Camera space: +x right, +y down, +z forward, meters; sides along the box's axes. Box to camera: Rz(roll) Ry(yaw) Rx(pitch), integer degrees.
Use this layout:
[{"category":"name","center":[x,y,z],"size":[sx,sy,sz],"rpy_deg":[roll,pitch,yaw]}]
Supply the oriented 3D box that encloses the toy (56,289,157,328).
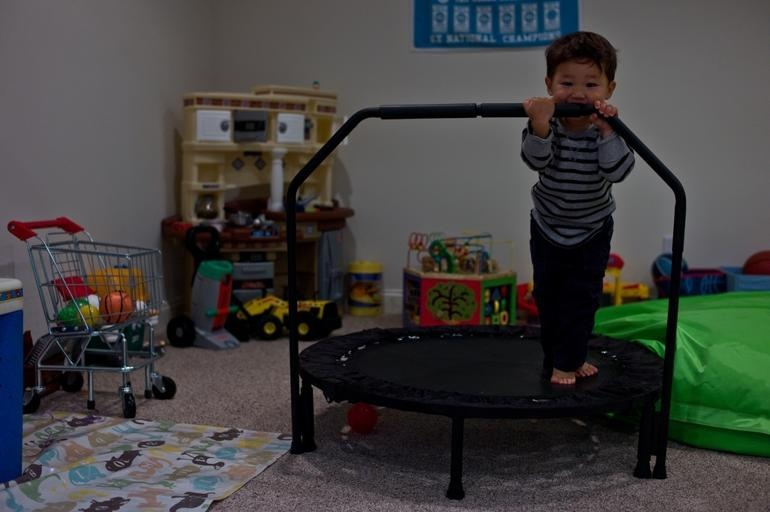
[{"category":"toy","center":[-1.343,0.249,2.981],"size":[0.307,0.123,0.177],"rpy_deg":[-4,13,-11]}]

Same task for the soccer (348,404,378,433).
[{"category":"soccer","center":[-0.099,0.708,2.783],"size":[0.131,0.139,0.093],"rpy_deg":[-1,11,-8]}]
